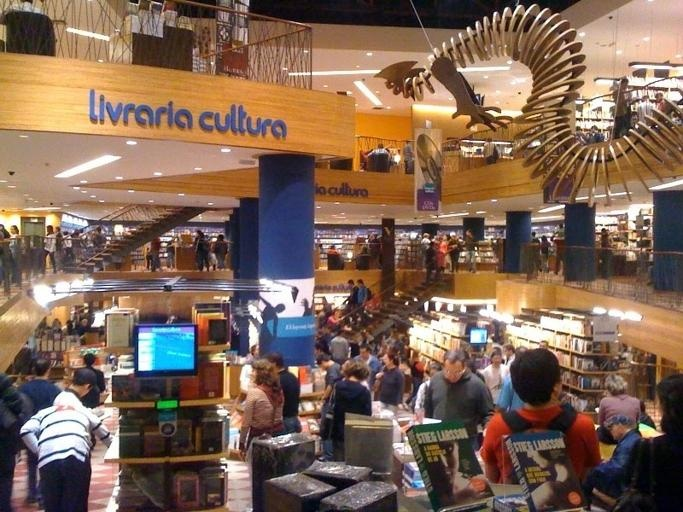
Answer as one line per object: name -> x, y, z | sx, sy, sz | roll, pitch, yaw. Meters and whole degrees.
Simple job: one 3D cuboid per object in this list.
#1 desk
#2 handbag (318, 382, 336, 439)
desk -> -2.707, -3.031, 8.008 | 0.884, 0.642, 0.500 | 1, -4, -21
handbag -> -0.144, 1.658, 5.782 | 0.161, 0.608, 0.414 | -2, 3, -5
